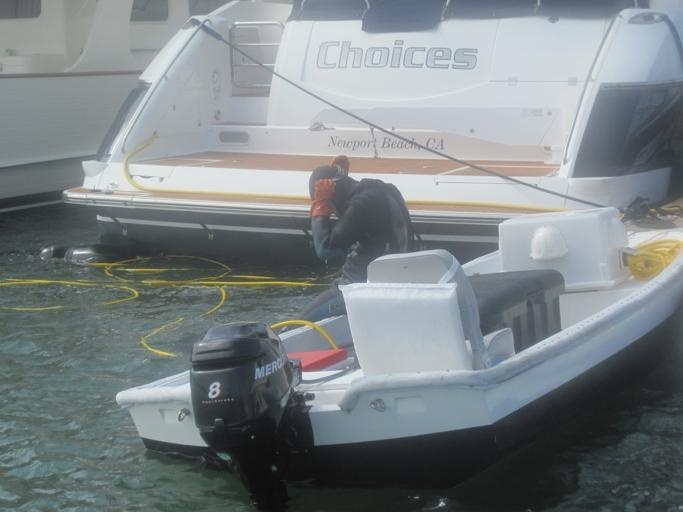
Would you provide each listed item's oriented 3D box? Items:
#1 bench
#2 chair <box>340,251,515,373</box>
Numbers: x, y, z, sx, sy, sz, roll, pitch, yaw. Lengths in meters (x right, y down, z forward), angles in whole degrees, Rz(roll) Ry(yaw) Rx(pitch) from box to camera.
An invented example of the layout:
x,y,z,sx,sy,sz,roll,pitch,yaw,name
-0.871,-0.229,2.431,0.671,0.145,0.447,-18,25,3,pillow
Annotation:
x,y,z,sx,sy,sz,roll,pitch,yaw,name
1.015,0.269,3.808,0.447,0.302,0.677,0,10,31,bench
0.472,0.250,3.599,0.679,0.714,0.935,2,19,24,chair
